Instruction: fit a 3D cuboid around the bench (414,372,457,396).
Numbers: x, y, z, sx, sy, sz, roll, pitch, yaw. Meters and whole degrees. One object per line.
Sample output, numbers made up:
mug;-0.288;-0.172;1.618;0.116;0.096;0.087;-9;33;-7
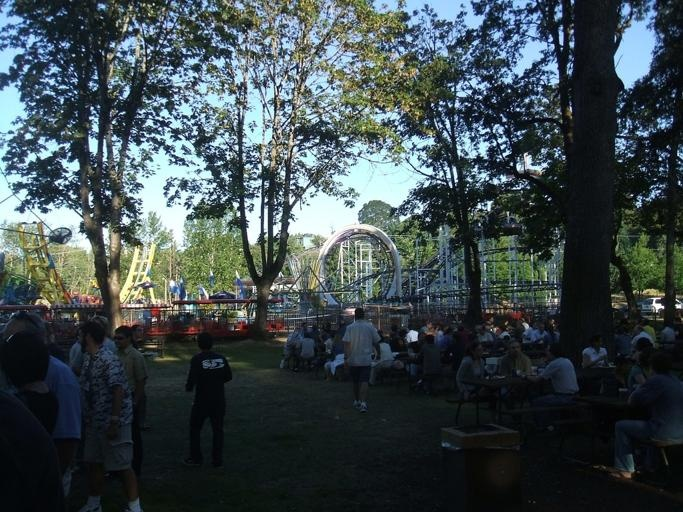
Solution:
bench;2.424;3.366;18.991;0.807;0.211;0.806;2;4;40

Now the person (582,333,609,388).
person;5.309;2.241;15.152;0.506;1.102;2.130;-2;-4;18

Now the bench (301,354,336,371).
bench;-0.752;3.540;23.714;1.083;0.381;0.790;-1;0;-5

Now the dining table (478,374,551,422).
dining table;3.383;2.775;14.166;0.575;0.548;1.084;8;-13;-22

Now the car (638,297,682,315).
car;20.884;3.308;47.550;1.851;1.605;3.155;-1;1;-2

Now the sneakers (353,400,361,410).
sneakers;0.328;3.317;16.102;0.134;0.156;0.253;2;-19;-6

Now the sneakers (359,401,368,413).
sneakers;0.461;3.319;15.836;0.142;0.181;0.418;-1;-15;3

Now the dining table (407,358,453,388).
dining table;2.339;3.268;19.213;0.892;1.089;1.073;10;-14;-36

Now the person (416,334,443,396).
person;2.335;2.816;19.238;0.612;1.456;2.045;-1;-4;7

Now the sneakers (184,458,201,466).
sneakers;-2.506;3.432;12.052;0.293;0.124;0.118;5;-1;13

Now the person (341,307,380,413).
person;0.364;2.298;16.122;0.679;2.261;1.125;-2;-3;17

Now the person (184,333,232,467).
person;-2.247;2.380;12.133;0.716;2.199;0.600;0;-3;-13

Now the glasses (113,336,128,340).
glasses;-3.463;1.281;11.240;0.094;0.040;0.098;-3;-12;14
